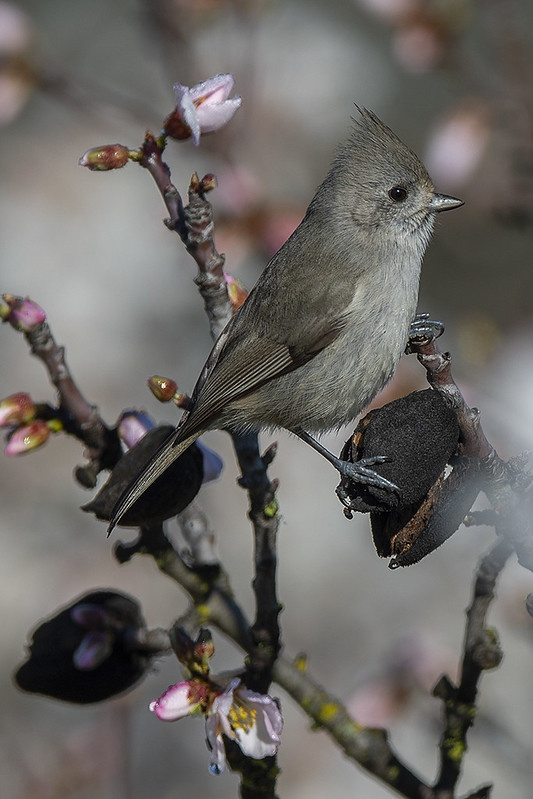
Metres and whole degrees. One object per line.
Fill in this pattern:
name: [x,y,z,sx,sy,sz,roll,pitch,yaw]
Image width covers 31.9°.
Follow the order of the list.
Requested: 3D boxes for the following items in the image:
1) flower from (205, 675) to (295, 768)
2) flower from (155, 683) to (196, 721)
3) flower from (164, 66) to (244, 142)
flower: [-0.065,0.741,2.151,0.160,0.163,0.179,8,16,-24]
flower: [-0.204,0.698,2.176,0.070,0.045,0.097,27,50,27]
flower: [-0.150,-0.728,2.315,0.227,0.150,0.099,-27,9,-21]
